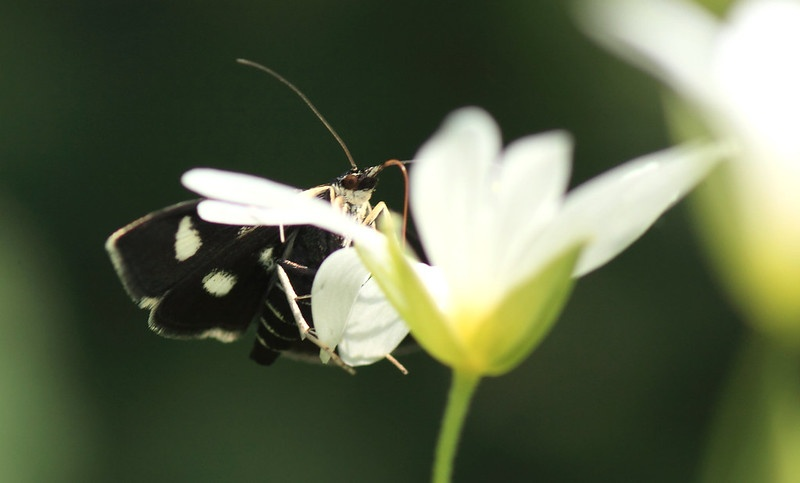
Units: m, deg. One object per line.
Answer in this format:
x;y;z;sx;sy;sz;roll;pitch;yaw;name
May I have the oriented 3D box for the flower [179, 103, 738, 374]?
0.116;0.000;0.899;0.410;0.195;0.401;-5;46;14;flower
